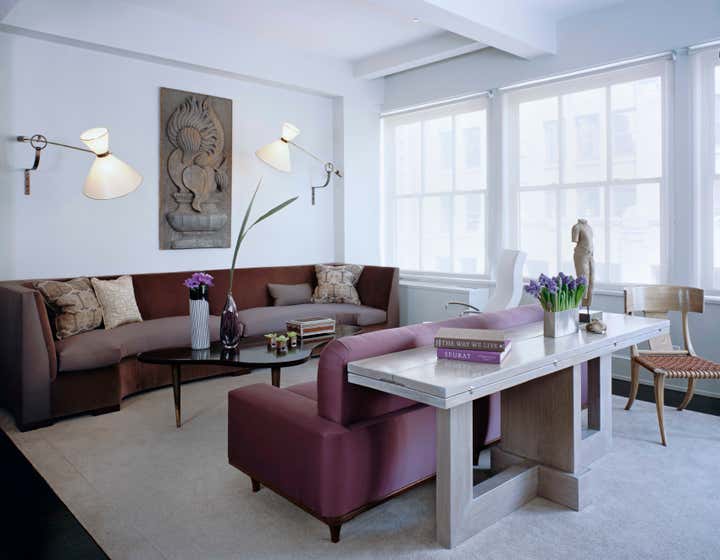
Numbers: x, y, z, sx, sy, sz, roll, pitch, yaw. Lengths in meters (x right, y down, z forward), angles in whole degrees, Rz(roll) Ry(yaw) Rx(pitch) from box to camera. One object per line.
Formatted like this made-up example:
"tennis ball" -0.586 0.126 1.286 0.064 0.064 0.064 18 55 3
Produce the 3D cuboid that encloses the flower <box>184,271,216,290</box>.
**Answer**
"flower" -1.178 0.003 4.070 0.236 0.131 0.255 -4 -4 22

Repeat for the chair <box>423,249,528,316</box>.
"chair" 1.181 0.034 5.406 0.790 1.006 0.611 3 0 -18

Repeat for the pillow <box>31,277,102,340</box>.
"pillow" -2.346 0.211 4.435 0.326 0.443 0.458 6 12 32

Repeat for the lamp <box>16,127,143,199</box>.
"lamp" -2.331 -0.942 4.595 1.134 0.729 0.586 1 10 13

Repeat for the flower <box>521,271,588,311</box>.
"flower" 1.128 0.063 3.192 0.259 0.201 0.266 -1 0 37

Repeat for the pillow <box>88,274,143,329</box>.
"pillow" -2.106 0.182 4.690 0.120 0.408 0.412 -19 11 17
